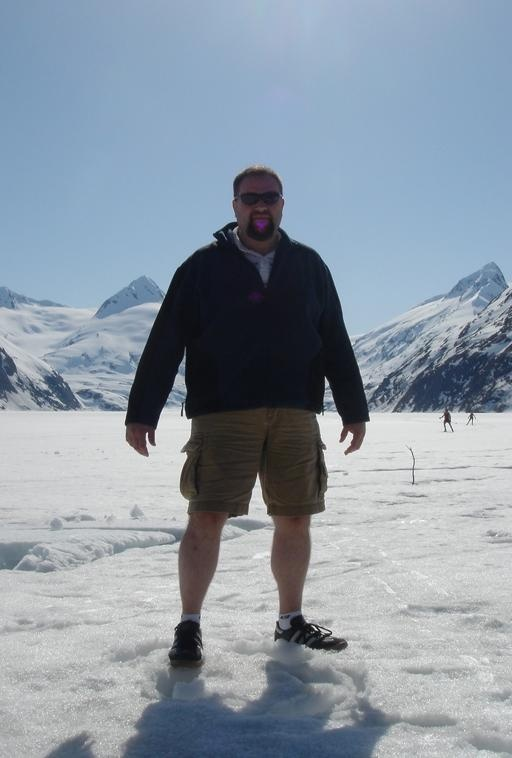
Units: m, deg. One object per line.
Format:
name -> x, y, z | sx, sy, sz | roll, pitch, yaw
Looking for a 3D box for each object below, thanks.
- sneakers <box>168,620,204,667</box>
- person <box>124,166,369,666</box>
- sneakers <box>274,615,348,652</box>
sneakers -> -0.280, 1.064, 3.005 | 0.132, 0.145, 0.174 | 2, -3, -4
person -> 0.025, 0.074, 3.409 | 1.131, 2.171, 0.603 | 3, -4, -22
sneakers -> 0.232, 1.096, 3.220 | 0.323, 0.122, 0.117 | -4, -8, 20
